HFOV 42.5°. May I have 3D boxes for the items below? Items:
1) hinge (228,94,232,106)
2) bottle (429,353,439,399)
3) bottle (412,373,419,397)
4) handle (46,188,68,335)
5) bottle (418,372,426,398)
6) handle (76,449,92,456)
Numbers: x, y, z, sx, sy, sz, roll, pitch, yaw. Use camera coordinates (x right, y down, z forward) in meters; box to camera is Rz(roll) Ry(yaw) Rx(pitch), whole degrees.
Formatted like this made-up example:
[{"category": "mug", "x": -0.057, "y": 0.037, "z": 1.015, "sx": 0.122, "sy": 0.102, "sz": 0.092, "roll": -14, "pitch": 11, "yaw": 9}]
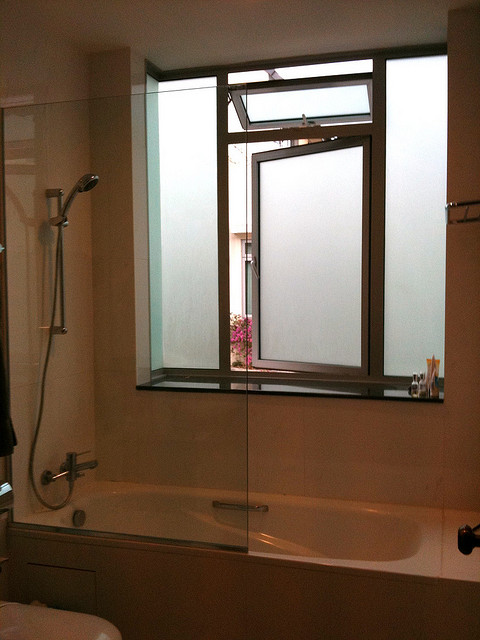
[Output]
[{"category": "hinge", "x": -0.038, "y": -0.825, "z": 2.326, "sx": 0.006, "sy": 0.040, "sz": 0.034, "roll": 2, "pitch": 6, "yaw": 19}, {"category": "bottle", "x": 0.872, "y": 0.259, "z": 2.776, "sx": 0.040, "sy": 0.163, "sz": 0.120, "roll": 1, "pitch": 6, "yaw": 14}, {"category": "bottle", "x": 0.800, "y": 0.294, "z": 2.811, "sx": 0.027, "sy": 0.085, "sz": 0.119, "roll": 1, "pitch": 7, "yaw": 15}, {"category": "handle", "x": -0.735, "y": -0.232, "z": 2.476, "sx": 0.086, "sy": 0.580, "sz": 0.023, "roll": 2, "pitch": 5, "yaw": 25}, {"category": "bottle", "x": 0.823, "y": 0.295, "z": 2.792, "sx": 0.033, "sy": 0.088, "sz": 0.093, "roll": 1, "pitch": 7, "yaw": 16}, {"category": "handle", "x": -0.621, "y": 0.529, "z": 2.466, "sx": 0.059, "sy": 0.016, "sz": 0.014, "roll": -9, "pitch": -6, "yaw": 2}]
